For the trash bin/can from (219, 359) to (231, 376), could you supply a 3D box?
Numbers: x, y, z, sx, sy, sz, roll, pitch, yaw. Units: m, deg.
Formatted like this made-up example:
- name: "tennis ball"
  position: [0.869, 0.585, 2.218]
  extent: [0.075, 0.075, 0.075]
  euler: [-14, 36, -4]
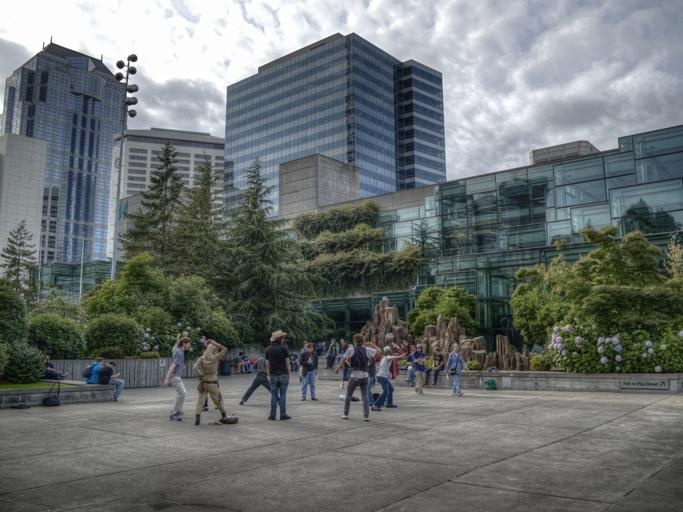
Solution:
- name: "trash bin/can"
  position: [-6.576, 6.502, 35.987]
  extent: [0.794, 1.125, 0.774]
  euler: [-3, -14, 5]

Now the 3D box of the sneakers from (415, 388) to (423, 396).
- name: "sneakers"
  position: [2.864, 4.980, 22.843]
  extent: [0.282, 0.270, 0.190]
  euler: [1, -3, -37]

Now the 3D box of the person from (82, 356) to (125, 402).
- name: "person"
  position: [-8.232, 4.283, 21.769]
  extent: [0.809, 1.465, 1.959]
  euler: [10, -15, -43]

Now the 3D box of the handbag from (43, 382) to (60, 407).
- name: "handbag"
  position: [-9.012, 4.394, 19.736]
  extent: [0.507, 0.645, 0.723]
  euler: [0, -11, 0]
